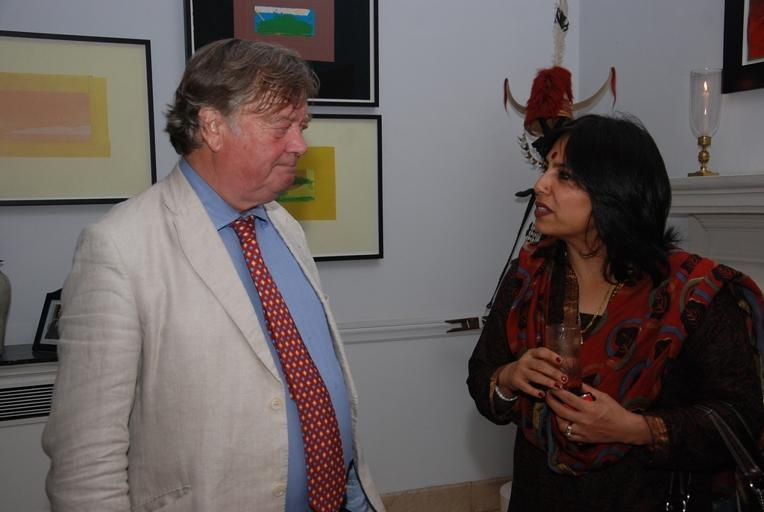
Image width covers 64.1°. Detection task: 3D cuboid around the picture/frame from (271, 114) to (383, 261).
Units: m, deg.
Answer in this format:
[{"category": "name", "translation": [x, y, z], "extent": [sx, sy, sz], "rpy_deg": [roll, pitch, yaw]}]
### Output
[{"category": "picture/frame", "translation": [-0.263, -0.348, 2.910], "extent": [0.698, 0.862, 0.030], "rpy_deg": [-2, 4, -9]}]

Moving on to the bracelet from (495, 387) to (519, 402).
[{"category": "bracelet", "translation": [0.460, 0.507, 2.214], "extent": [0.048, 0.015, 0.058], "rpy_deg": [-19, 54, -37]}]

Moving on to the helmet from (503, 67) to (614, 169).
[{"category": "helmet", "translation": [0.819, -0.697, 2.977], "extent": [0.588, 0.600, 0.206], "rpy_deg": [3, -19, 29]}]

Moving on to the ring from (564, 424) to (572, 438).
[{"category": "ring", "translation": [0.625, 0.585, 2.044], "extent": [0.026, 0.043, 0.041], "rpy_deg": [1, -5, 16]}]
